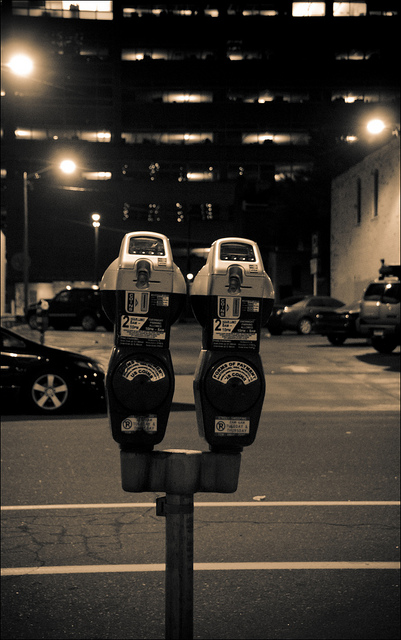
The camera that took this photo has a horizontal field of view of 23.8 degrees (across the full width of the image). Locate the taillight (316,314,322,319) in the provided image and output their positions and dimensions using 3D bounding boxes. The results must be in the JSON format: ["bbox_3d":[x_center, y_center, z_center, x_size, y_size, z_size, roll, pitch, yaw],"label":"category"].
[{"bbox_3d":[2.748,-0.114,21.941,0.072,0.098,0.075,-3,-3,-2],"label":"taillight"}]

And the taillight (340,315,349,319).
[{"bbox_3d":[3.199,-0.097,21.118,0.078,0.096,0.393,0,2,-10],"label":"taillight"}]

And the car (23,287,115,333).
[{"bbox_3d":[-3.907,-0.261,28.076,2.385,1.470,1.338,3,-1,21],"label":"car"}]

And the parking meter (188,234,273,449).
[{"bbox_3d":[0.140,0.080,4.217,0.375,0.901,0.383,0,2,-1],"label":"parking meter"}]

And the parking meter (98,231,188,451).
[{"bbox_3d":[-0.246,0.067,4.136,0.382,0.913,0.407,0,2,-7],"label":"parking meter"}]

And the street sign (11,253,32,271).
[{"bbox_3d":[-5.607,-1.877,29.747,0.540,0.531,2.871,0,2,-12],"label":"street sign"}]
